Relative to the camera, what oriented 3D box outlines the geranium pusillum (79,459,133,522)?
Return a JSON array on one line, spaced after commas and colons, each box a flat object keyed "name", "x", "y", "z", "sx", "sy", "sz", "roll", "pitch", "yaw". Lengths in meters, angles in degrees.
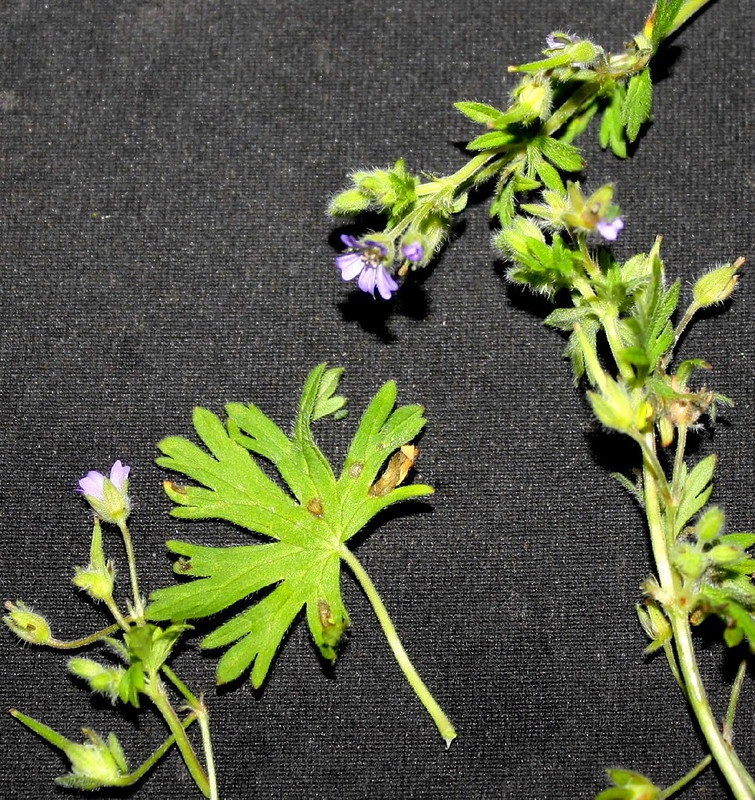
[{"name": "geranium pusillum", "x": -0.486, "y": 0.164, "z": 1.944, "sx": 0.082, "sy": 0.070, "sz": 0.118, "roll": -6, "pitch": 66, "yaw": -3}]
